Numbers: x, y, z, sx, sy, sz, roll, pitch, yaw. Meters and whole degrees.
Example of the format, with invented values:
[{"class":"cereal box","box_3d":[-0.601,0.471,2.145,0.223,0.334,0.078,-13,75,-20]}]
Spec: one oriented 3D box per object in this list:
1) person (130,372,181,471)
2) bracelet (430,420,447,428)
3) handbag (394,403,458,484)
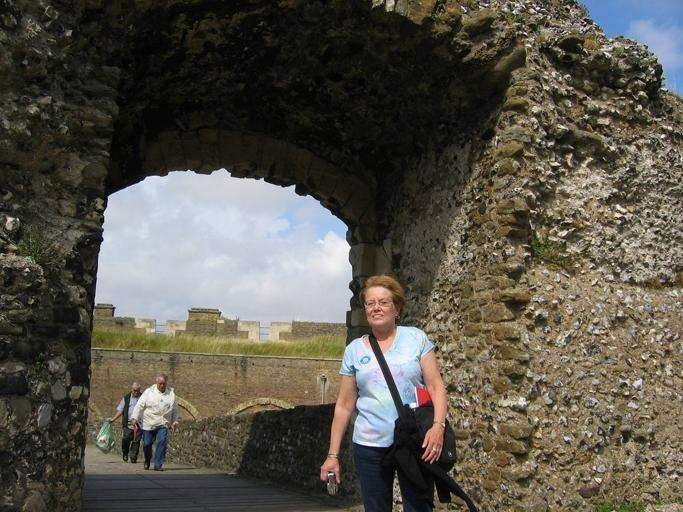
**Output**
[{"class":"person","box_3d":[-2.281,1.983,11.197,0.534,1.101,0.971,5,-13,-20]},{"class":"bracelet","box_3d":[0.670,1.114,6.196,0.052,0.031,0.065,14,-31,-43]},{"class":"handbag","box_3d":[0.560,1.230,6.190,0.415,0.532,0.107,0,-12,2]}]
